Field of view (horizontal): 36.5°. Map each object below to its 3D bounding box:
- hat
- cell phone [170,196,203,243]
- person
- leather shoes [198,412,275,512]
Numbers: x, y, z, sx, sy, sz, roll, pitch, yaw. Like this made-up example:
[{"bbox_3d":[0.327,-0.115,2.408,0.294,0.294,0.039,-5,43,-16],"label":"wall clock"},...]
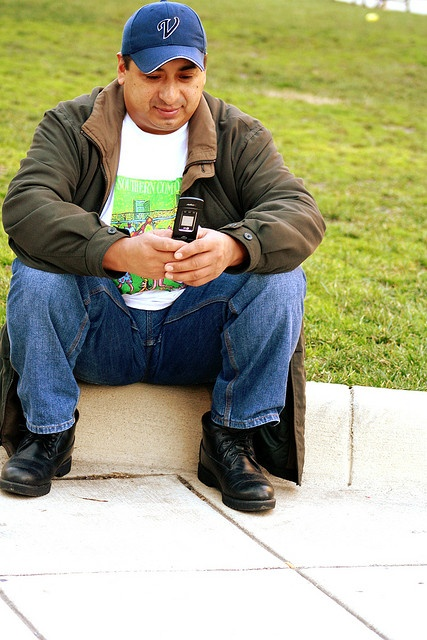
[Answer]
[{"bbox_3d":[-0.178,-0.952,2.222,0.241,0.169,0.323,-3,16,-18],"label":"hat"},{"bbox_3d":[-0.081,-0.304,1.979,0.076,0.136,0.048,8,6,-4],"label":"cell phone"},{"bbox_3d":[-0.155,-0.255,2.204,1.088,1.660,0.641,7,7,-13],"label":"person"},{"bbox_3d":[0.055,0.485,2.167,0.150,0.225,0.409,-1,7,-26],"label":"leather shoes"}]
